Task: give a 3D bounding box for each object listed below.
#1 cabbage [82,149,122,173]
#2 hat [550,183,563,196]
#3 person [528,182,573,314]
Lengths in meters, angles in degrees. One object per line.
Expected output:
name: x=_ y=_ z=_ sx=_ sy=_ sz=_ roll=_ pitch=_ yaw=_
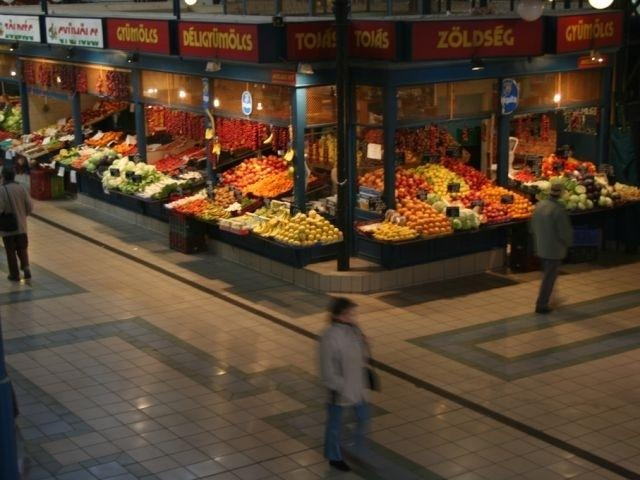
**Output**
cabbage: x=-6.108 y=-2.278 z=16.015 sx=0.936 sy=0.306 sz=0.846 roll=-18 pitch=15 yaw=29
hat: x=3.888 y=-0.827 z=9.373 sx=0.185 sy=0.218 sz=0.193 roll=5 pitch=16 yaw=18
person: x=3.915 y=0.104 z=9.709 sx=0.659 sy=2.189 sz=0.965 roll=5 pitch=17 yaw=19
